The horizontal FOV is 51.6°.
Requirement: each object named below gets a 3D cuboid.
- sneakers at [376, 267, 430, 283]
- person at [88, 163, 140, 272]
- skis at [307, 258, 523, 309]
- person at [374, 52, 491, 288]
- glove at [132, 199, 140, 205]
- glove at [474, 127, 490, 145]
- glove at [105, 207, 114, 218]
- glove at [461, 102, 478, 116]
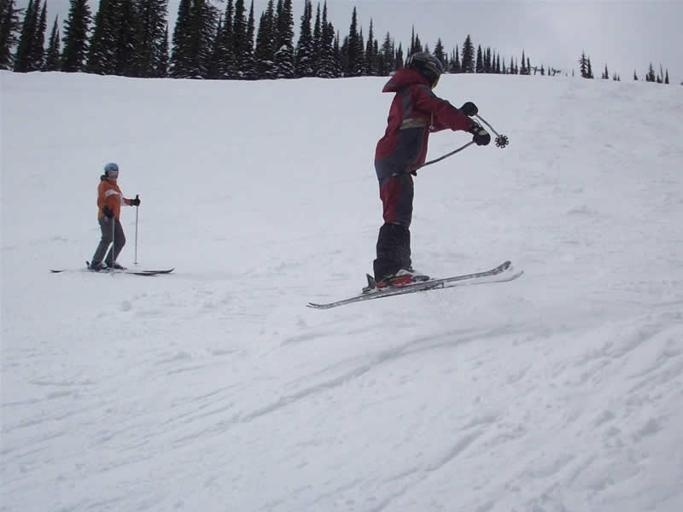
[{"bbox_3d":[0.800,0.245,9.009,0.606,0.244,0.229,-7,-1,5],"label":"sneakers"},{"bbox_3d":[-3.880,-0.683,12.001,0.754,1.749,0.819,-1,7,-17],"label":"person"},{"bbox_3d":[1.085,0.392,9.501,1.587,0.251,0.243,-13,-38,0],"label":"skis"},{"bbox_3d":[1.006,-1.126,9.115,1.135,3.006,0.645,1,6,3],"label":"person"},{"bbox_3d":[-3.448,-0.890,11.866,0.118,0.118,0.364,-2,8,-19],"label":"glove"},{"bbox_3d":[1.738,-1.489,8.773,0.195,0.206,0.243,2,7,10],"label":"glove"},{"bbox_3d":[-3.873,-0.709,11.826,0.141,0.152,0.147,18,-42,-33],"label":"glove"},{"bbox_3d":[1.632,-1.880,9.097,0.200,0.203,0.537,2,7,9],"label":"glove"}]
